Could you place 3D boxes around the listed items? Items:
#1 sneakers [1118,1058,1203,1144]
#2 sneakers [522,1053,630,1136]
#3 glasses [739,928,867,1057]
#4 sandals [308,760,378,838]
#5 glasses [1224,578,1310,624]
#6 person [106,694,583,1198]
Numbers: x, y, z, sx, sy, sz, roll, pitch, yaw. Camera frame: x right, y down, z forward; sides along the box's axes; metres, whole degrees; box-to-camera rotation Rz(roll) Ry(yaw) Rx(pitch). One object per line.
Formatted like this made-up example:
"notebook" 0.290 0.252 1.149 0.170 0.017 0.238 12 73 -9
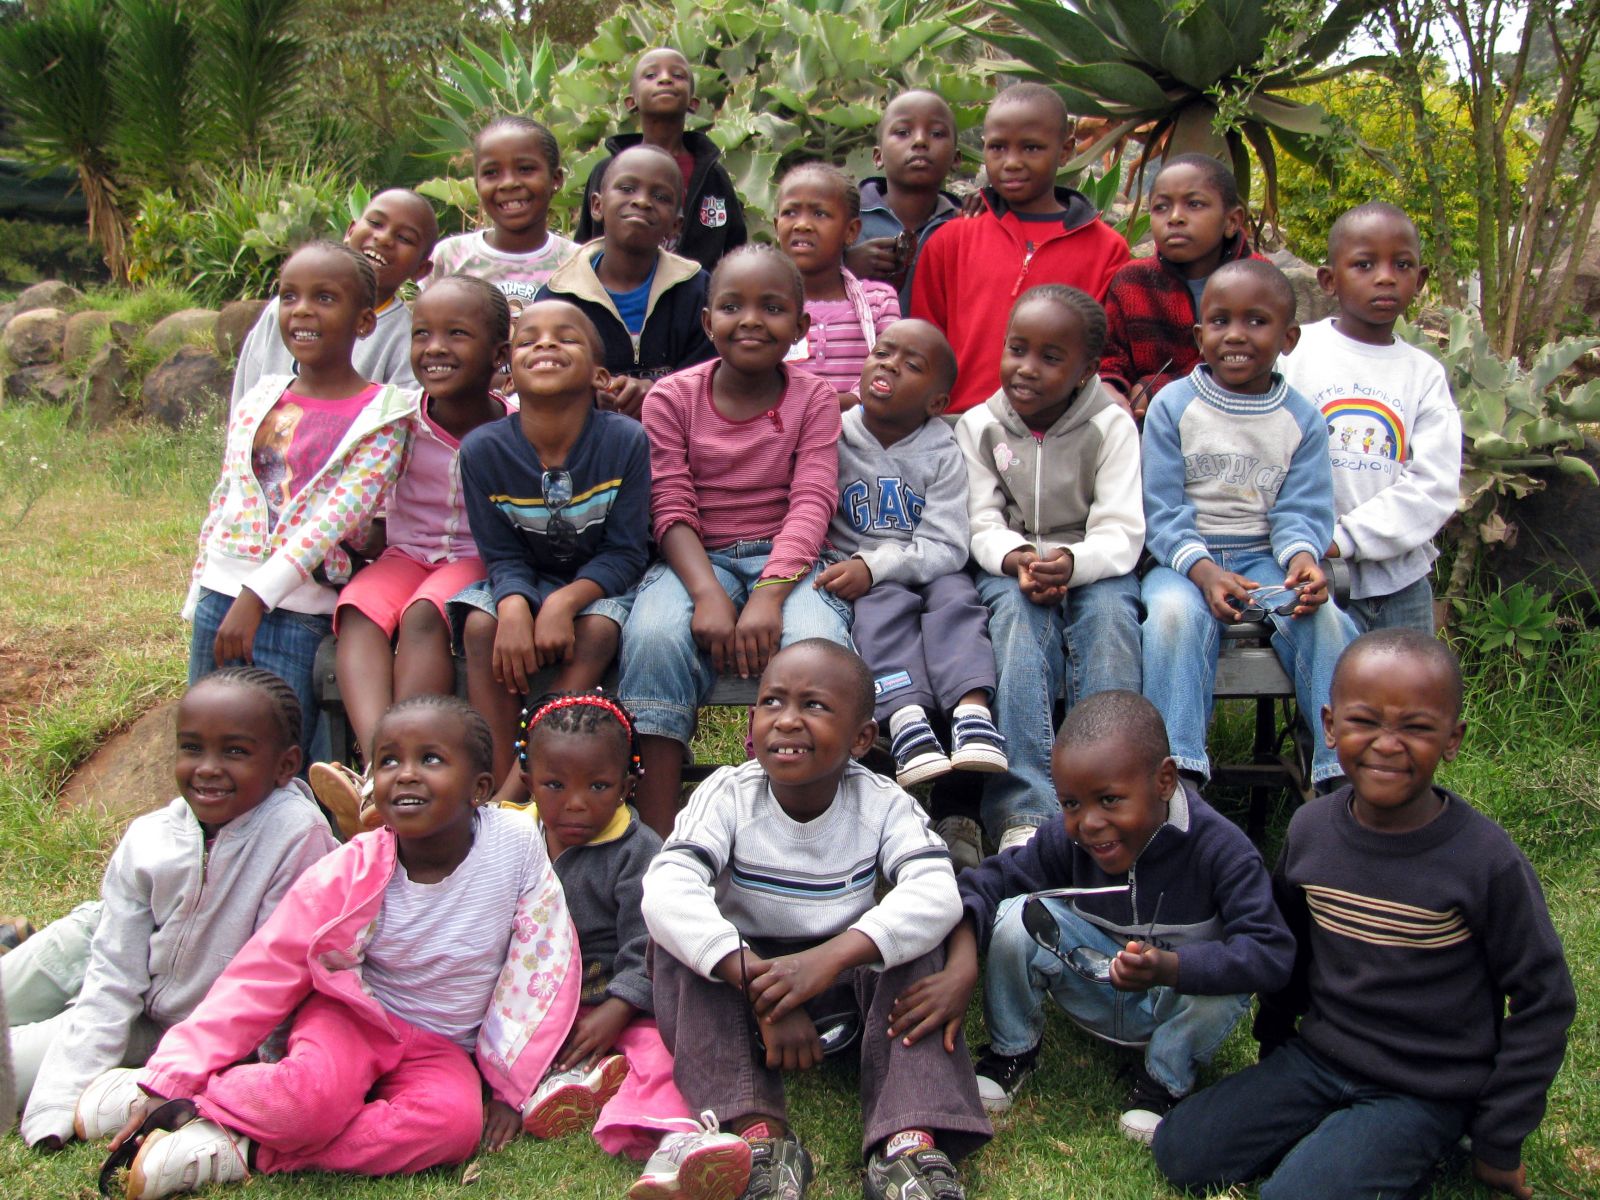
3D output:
"sneakers" 0.856 1.234 3.639 0.097 0.155 0.272 -9 -22 30
"sneakers" -0.541 1.203 3.673 0.271 0.122 0.120 -20 24 -19
"glasses" -0.036 0.902 3.497 0.220 0.146 0.291 -48 30 -22
"sandals" -1.246 0.550 4.109 0.140 0.246 0.091 -14 26 41
"glasses" 1.342 0.000 4.360 0.123 0.045 0.125 20 40 33
"person" -1.029 0.790 3.561 1.034 1.050 0.448 1 9 -24
